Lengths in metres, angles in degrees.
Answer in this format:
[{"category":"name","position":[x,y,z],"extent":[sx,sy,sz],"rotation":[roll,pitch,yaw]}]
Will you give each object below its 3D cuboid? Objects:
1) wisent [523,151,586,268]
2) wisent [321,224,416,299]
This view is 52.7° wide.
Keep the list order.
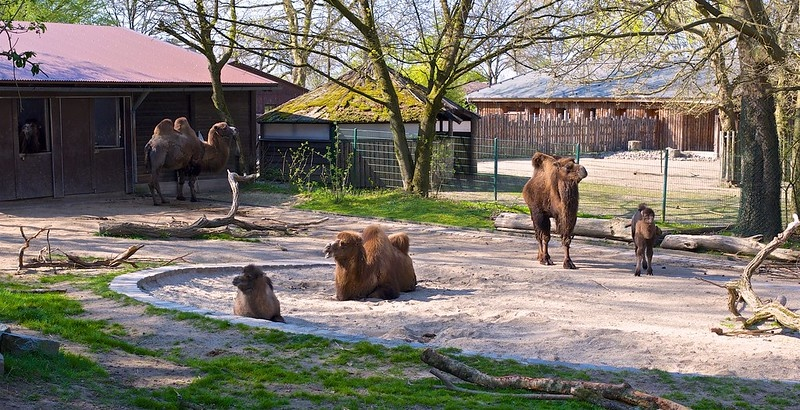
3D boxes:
[{"category":"wisent","position":[4.387,0.058,23.131],"extent":[2.047,2.923,2.940],"rotation":[1,1,10]},{"category":"wisent","position":[-0.666,1.502,20.081],"extent":[1.744,2.014,2.773],"rotation":[-1,0,11]}]
